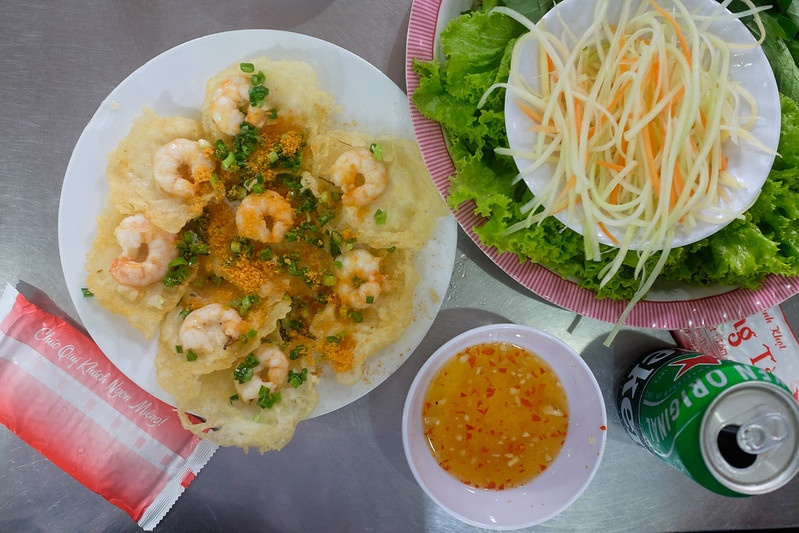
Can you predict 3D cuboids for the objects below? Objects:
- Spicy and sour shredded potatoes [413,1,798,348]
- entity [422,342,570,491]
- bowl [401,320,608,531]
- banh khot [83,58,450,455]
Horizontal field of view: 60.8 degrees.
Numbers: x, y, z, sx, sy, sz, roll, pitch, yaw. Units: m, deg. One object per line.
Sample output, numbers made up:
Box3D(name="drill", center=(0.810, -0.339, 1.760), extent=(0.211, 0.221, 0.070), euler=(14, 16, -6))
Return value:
Box3D(name="Spicy and sour shredded potatoes", center=(0.682, -0.332, 2.181), extent=(0.786, 0.398, 1.094), euler=(20, 90, 10))
Box3D(name="entity", center=(0.345, 0.550, 2.370), extent=(0.709, 0.336, 0.501), euler=(1, 91, 2))
Box3D(name="bowl", center=(0.459, 0.558, 2.699), extent=(0.802, 0.401, 0.752), euler=(0, 90, 3))
Box3D(name="banh khot", center=(-0.523, -0.110, 2.504), extent=(1.279, 0.273, 1.520), euler=(4, 89, 6))
